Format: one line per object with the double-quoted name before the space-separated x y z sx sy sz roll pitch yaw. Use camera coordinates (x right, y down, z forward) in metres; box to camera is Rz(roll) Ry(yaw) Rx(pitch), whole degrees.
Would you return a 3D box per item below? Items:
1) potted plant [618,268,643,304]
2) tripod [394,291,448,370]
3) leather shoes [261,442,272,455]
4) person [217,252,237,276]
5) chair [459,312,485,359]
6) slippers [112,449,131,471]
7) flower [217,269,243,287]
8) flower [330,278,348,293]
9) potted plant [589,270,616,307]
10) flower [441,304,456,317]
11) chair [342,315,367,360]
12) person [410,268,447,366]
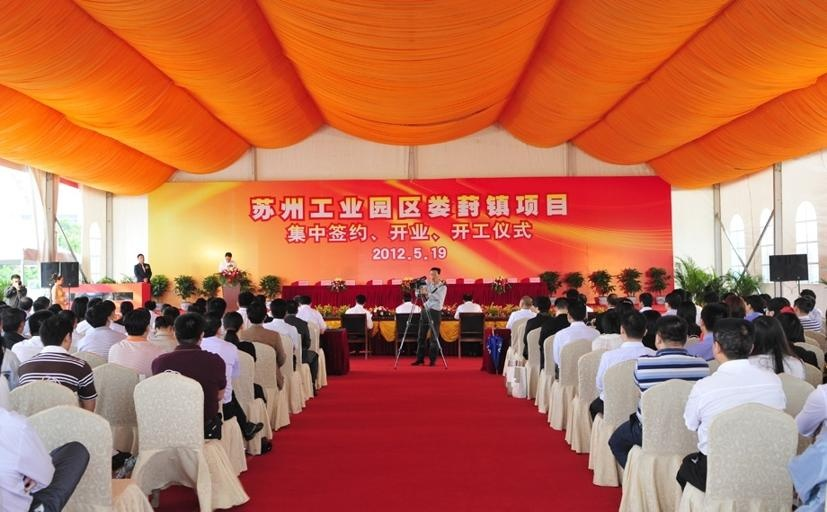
"potted plant" 5.456 0.724 16.350 0.737 0.798 0.637 0 -5 -4
"tripod" 0.185 1.223 11.657 1.015 1.599 0.819 4 14 19
"leather shoes" -1.672 2.173 7.212 0.089 0.105 0.113 -1 11 2
"person" -4.725 0.225 16.168 0.520 0.715 0.418 1 -14 -7
"chair" 1.118 1.530 12.471 0.474 0.991 0.492 -1 11 4
"slippers" -2.768 1.912 5.992 0.148 0.150 0.054 10 -19 -7
"flower" -4.637 0.564 15.997 0.456 0.272 0.457 1 -3 -8
"flower" -1.810 0.725 15.416 0.359 0.340 0.495 0 11 7
"potted plant" 4.620 0.769 15.521 0.778 0.984 0.714 1 -7 -10
"flower" 0.740 1.171 13.554 0.326 0.186 0.333 0 -5 1
"chair" -1.159 1.585 12.417 0.533 0.933 0.570 -1 -6 -12
"person" 0.279 1.132 11.768 0.603 2.012 1.317 -2 11 0
